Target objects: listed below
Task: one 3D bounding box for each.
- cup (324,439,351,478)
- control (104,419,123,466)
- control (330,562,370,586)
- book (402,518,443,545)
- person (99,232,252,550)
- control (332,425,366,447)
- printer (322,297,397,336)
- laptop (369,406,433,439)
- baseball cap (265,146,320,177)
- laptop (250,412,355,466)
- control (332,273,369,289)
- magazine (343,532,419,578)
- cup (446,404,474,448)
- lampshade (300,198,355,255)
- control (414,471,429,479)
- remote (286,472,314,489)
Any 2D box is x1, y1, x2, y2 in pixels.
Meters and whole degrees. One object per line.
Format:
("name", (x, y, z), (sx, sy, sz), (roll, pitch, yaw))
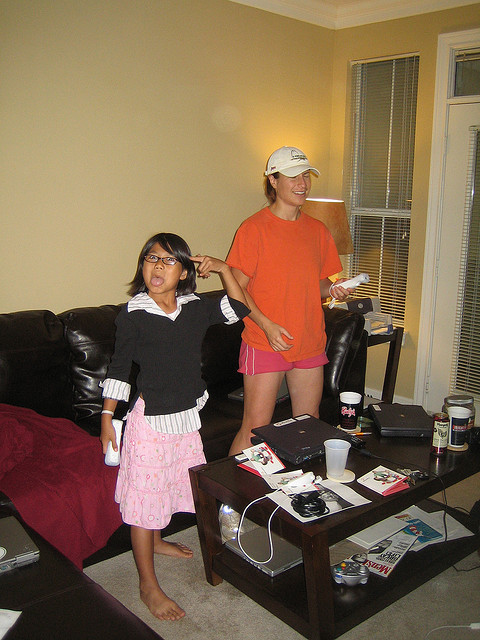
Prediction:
("cup", (0.278, 0.399, 1.436), (0.104, 0.096, 0.098), (1, 11, 0))
("control", (-0.372, 0.355, 1.463), (0.050, 0.141, 0.036), (7, 0, -9))
("control", (0.331, 0.767, 1.494), (0.112, 0.049, 0.088), (-2, 7, 12))
("book", (0.645, 0.756, 1.772), (0.108, 0.016, 0.152), (-5, 7, -15))
("person", (-0.206, 0.215, 1.571), (0.494, 0.961, 0.201), (-8, 8, -28))
("control", (0.367, 0.397, 1.681), (0.070, 0.017, 0.070), (18, 2, -24))
("printer", (0.677, -0.015, 2.832), (0.372, 0.175, 0.358), (-4, 17, -28))
("laptop", (0.621, 0.392, 1.907), (0.212, 0.069, 0.239), (-3, 7, 4))
("baseball cap", (0.174, -0.568, 1.840), (0.211, 0.123, 0.218), (-8, 19, -34))
("laptop", (0.213, 0.404, 1.689), (0.297, 0.075, 0.222), (-8, 9, -36))
("control", (0.435, -0.144, 2.003), (0.161, 0.045, 0.049), (-19, -8, 26))
("magazine", (0.460, 0.778, 1.649), (0.174, 0.011, 0.307), (-9, -2, 42))
("cup", (0.768, 0.363, 1.750), (0.074, 0.142, 0.141), (-1, 8, 22))
("lampshade", (0.619, -0.679, 3.390), (0.374, 0.461, 0.392), (17, 22, 42))
("control", (0.541, 0.461, 1.479), (0.021, 0.010, 0.029), (4, 3, 20))
("remote", (0.165, 0.451, 1.400), (0.046, 0.011, 0.040), (-14, 2, -13))
